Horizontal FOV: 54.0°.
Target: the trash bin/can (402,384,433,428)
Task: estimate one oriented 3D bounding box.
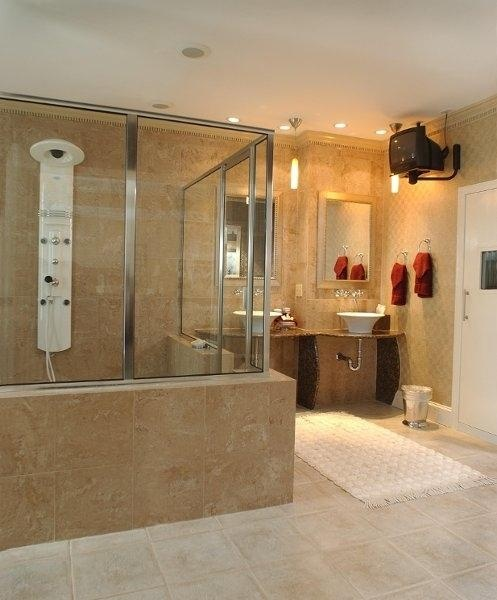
[{"bbox_3d":[1.455,0.910,4.254,0.328,0.354,0.295,0,-1,-10],"label":"trash bin/can"}]

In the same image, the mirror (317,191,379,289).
[{"bbox_3d":[1.018,-0.594,4.976,0.745,0.947,0.048,1,2,-24],"label":"mirror"}]

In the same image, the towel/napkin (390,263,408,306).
[{"bbox_3d":[1.467,-0.152,4.778,0.136,0.422,0.167,1,2,-19],"label":"towel/napkin"}]

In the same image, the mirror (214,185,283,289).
[{"bbox_3d":[0.002,-0.344,2.644,0.356,0.480,0.018,0,-1,-32],"label":"mirror"}]

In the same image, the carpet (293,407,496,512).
[{"bbox_3d":[0.902,1.095,3.359,1.082,0.036,1.227,1,2,-23],"label":"carpet"}]

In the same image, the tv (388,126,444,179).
[{"bbox_3d":[1.480,-1.262,4.261,0.445,0.313,0.389,3,2,-36],"label":"tv"}]

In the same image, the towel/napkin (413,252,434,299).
[{"bbox_3d":[1.593,-0.221,4.461,0.124,0.423,0.188,1,2,-20],"label":"towel/napkin"}]

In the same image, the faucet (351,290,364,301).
[{"bbox_3d":[1.131,-0.056,5.055,0.176,0.105,0.030,1,2,-38],"label":"faucet"}]

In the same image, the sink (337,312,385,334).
[{"bbox_3d":[1.066,0.226,4.630,0.314,0.180,0.268,1,2,-19],"label":"sink"}]
